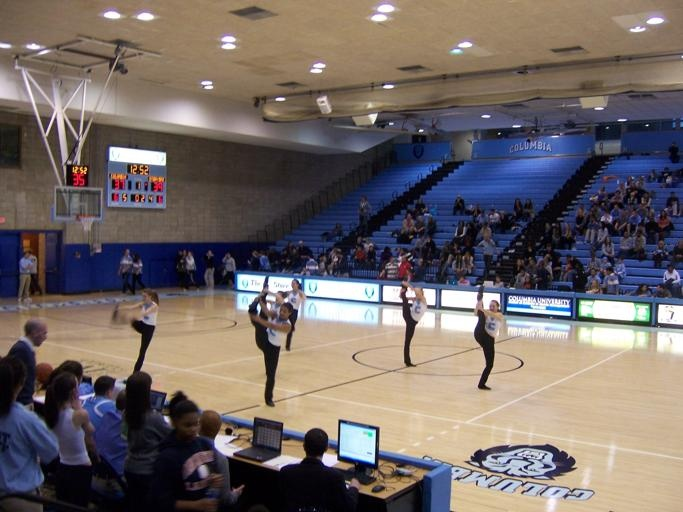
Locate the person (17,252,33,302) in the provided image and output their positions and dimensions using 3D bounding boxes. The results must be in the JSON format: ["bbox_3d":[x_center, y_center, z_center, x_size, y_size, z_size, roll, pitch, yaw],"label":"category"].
[{"bbox_3d":[-12.165,0.795,22.379,0.544,1.927,1.424,-2,6,-29],"label":"person"}]

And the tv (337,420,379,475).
[{"bbox_3d":[0.230,2.118,6.482,0.557,0.563,0.201,-1,-6,36],"label":"tv"}]

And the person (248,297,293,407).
[{"bbox_3d":[-1.393,1.738,11.234,0.765,2.027,1.516,0,5,-8],"label":"person"}]

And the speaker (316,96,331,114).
[{"bbox_3d":[-0.604,-4.917,19.030,0.475,0.546,0.590,2,5,15],"label":"speaker"}]

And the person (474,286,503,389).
[{"bbox_3d":[3.090,1.678,12.317,0.541,2.131,0.909,2,6,13],"label":"person"}]

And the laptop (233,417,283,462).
[{"bbox_3d":[-0.944,2.158,6.735,0.503,0.362,0.430,1,-3,34],"label":"laptop"}]

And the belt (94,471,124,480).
[{"bbox_3d":[-2.568,2.425,6.438,0.201,0.048,0.191,6,0,-18],"label":"belt"}]
